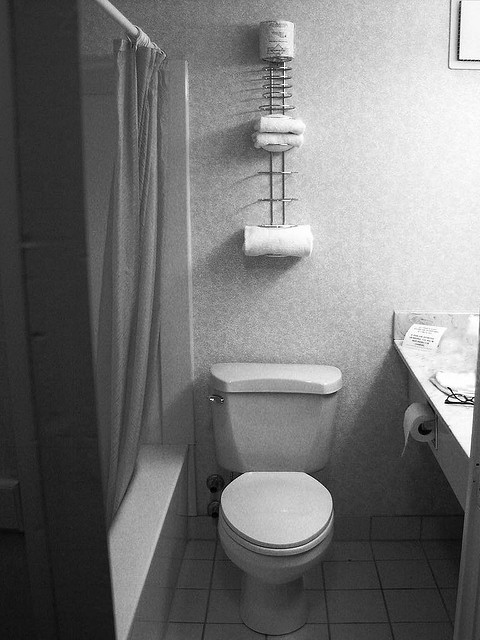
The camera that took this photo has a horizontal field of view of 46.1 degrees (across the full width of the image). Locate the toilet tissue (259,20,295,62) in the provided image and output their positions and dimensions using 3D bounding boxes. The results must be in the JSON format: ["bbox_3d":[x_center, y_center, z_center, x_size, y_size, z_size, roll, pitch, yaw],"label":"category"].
[{"bbox_3d":[0.110,-0.882,1.834,0.097,0.128,0.109,-2,-6,21],"label":"toilet tissue"}]

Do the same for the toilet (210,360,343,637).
[{"bbox_3d":[0.110,0.509,1.787,0.408,0.842,0.713,1,5,1],"label":"toilet"}]

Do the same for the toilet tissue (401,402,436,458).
[{"bbox_3d":[0.512,0.324,1.661,0.071,0.124,0.107,4,17,11],"label":"toilet tissue"}]

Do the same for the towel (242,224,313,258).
[{"bbox_3d":[0.129,-0.264,1.914,0.239,0.116,0.130,-2,9,-4],"label":"towel"}]
